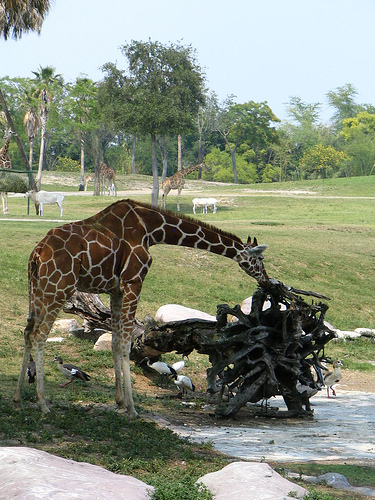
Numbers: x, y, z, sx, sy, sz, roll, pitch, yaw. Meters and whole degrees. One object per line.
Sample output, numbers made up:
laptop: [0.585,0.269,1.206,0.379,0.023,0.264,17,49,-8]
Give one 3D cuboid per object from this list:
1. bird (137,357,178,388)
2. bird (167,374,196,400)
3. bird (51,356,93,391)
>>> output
bird: [-0.619,2.623,15.991,0.870,0.577,0.251,2,-9,9]
bird: [-0.099,2.835,15.904,0.645,0.463,0.313,-15,12,-1]
bird: [-2.177,2.294,14.159,0.765,0.536,0.260,0,-1,15]
